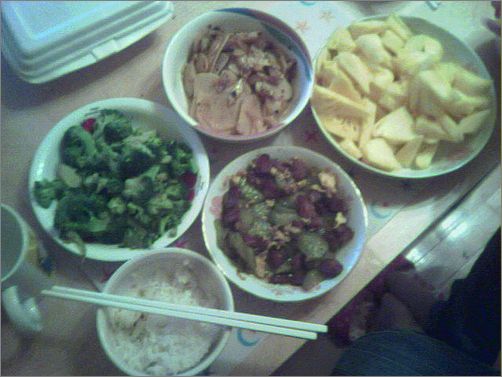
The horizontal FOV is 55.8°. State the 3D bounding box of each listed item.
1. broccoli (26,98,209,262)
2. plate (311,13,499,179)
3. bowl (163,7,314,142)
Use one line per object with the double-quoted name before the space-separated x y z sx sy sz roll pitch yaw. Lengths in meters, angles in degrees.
"broccoli" -0.435 -0.022 1.344 0.513 0.492 0.133 -10 -3 -7
"plate" 0.519 -0.365 1.565 0.562 0.506 0.311 -10 34 -14
"bowl" -0.070 -0.337 1.637 0.460 0.388 0.451 -18 -6 -2
